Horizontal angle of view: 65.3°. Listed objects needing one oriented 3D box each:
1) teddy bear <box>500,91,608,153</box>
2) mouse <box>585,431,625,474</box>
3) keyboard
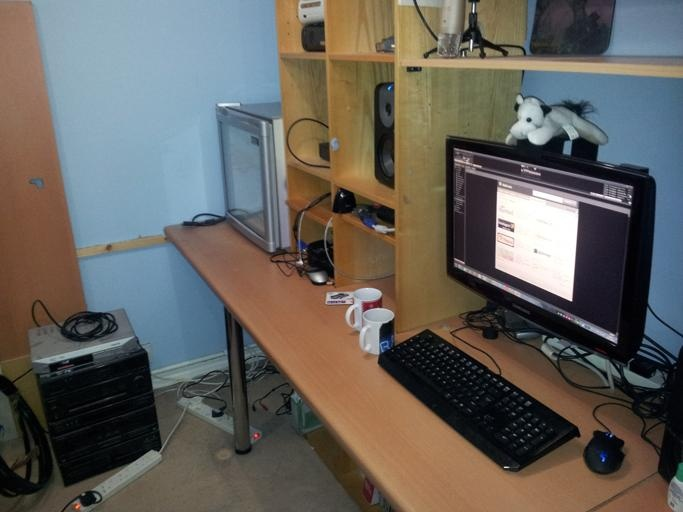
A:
[{"bbox_3d":[0.604,-0.382,1.523,0.283,0.138,0.202,-13,24,-26],"label":"teddy bear"},{"bbox_3d":[0.636,0.472,1.291,0.080,0.064,0.092,19,33,40],"label":"mouse"},{"bbox_3d":[0.350,0.376,1.502,0.263,0.081,0.570,-14,25,-29],"label":"keyboard"}]
